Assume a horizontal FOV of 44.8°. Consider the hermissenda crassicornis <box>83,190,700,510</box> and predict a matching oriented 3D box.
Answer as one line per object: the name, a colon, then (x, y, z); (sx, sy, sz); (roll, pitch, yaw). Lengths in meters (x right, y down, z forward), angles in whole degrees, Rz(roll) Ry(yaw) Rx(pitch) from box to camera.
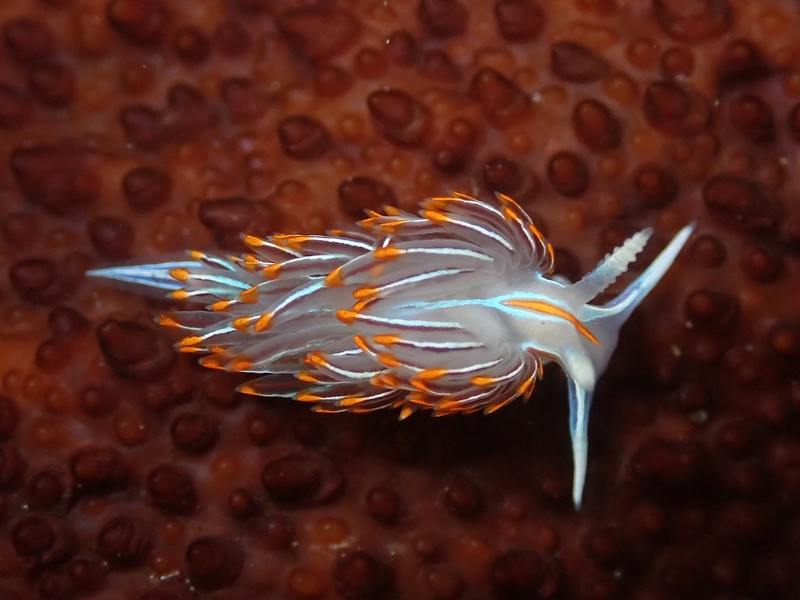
hermissenda crassicornis: (0.084, 0.001, 2.984); (1.451, 0.364, 0.668); (9, 68, 0)
